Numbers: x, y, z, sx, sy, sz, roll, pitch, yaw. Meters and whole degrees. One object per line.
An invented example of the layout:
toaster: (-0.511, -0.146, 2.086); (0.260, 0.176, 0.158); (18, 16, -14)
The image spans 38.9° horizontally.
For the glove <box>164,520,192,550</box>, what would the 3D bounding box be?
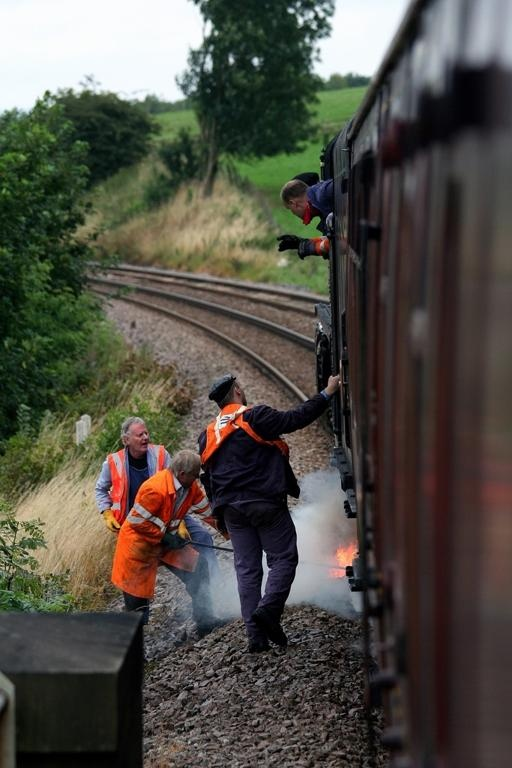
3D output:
glove: (-0.614, 1.192, 5.568); (0.204, 0.072, 0.201); (-35, 30, -33)

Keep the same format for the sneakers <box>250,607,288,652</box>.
sneakers: (0.087, 1.564, 4.547); (0.147, 0.388, 0.167); (2, 52, 19)

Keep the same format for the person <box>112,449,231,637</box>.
person: (-0.656, 1.251, 5.567); (0.854, 1.404, 0.523); (1, 11, -8)

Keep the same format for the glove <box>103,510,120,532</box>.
glove: (-1.139, 1.110, 5.789); (0.068, 0.199, 0.142); (-6, 6, -42)

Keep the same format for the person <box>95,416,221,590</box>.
person: (-0.709, 0.875, 5.948); (0.856, 1.351, 0.960); (-17, 12, 5)

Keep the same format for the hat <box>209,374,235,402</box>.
hat: (-0.211, 0.010, 4.961); (0.164, 0.083, 0.207); (-22, 22, 35)
